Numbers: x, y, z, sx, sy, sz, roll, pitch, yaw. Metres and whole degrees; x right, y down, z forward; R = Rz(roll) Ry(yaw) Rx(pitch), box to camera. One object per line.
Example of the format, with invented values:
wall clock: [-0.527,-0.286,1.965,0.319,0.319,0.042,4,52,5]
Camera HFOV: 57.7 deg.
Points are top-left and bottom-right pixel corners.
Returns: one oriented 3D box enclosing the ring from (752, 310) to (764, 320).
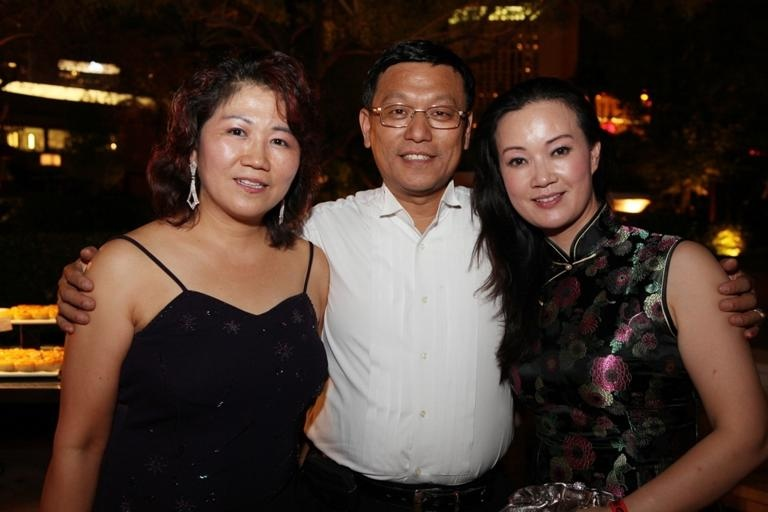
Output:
ring: [1.877,0.292,3.487,0.061,0.025,0.079,13,2,19]
